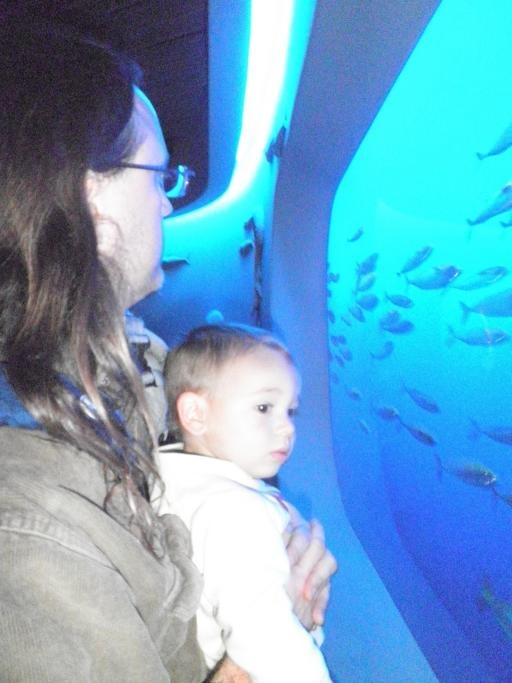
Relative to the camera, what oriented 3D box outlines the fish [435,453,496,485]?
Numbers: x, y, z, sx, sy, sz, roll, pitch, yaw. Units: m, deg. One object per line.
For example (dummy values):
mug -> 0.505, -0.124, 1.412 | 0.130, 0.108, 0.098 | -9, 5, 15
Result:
fish -> 0.583, 0.367, 1.808 | 0.040, 0.070, 0.263 | 20, -12, -12
